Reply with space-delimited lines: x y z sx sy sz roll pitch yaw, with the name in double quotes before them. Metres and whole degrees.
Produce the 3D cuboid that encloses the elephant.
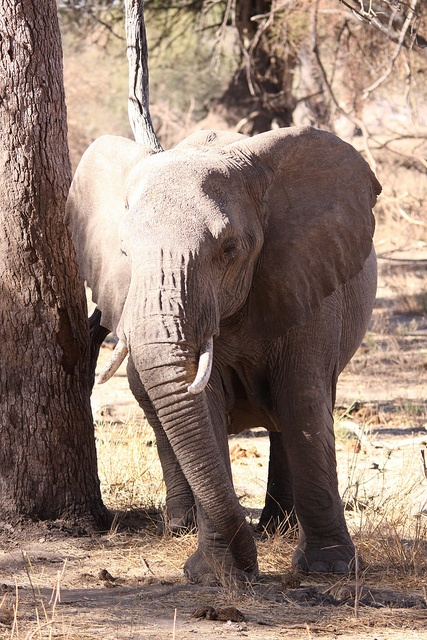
"elephant" -0.067 0.093 5.022 1.285 1.751 2.353 -4 -8 16
